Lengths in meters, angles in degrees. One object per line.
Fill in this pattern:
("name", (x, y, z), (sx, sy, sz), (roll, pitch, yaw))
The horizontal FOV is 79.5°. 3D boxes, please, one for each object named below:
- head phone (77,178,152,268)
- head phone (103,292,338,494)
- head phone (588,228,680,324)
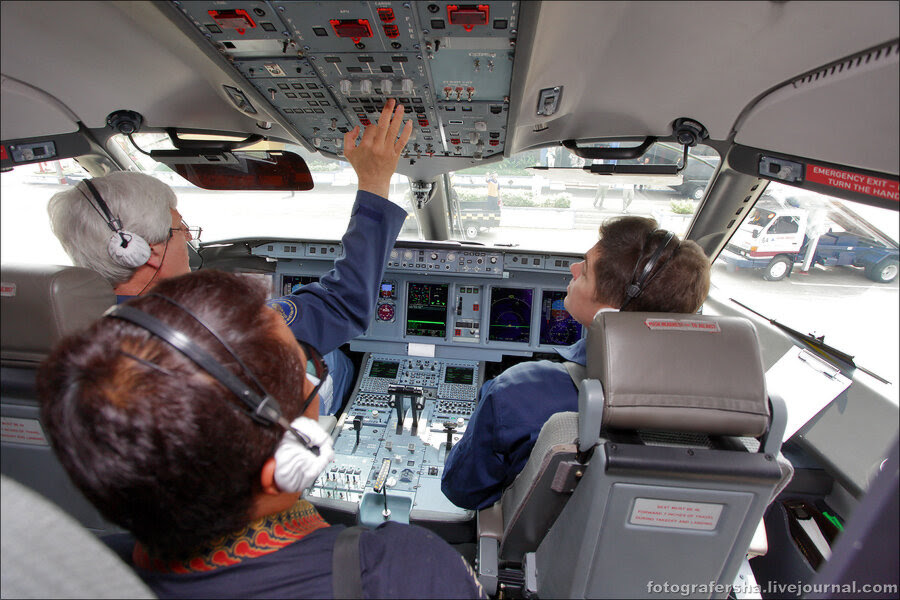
("head phone", (-1.284, -0.290, 2.058), (0.284, 0.125, 0.319), (49, -14, 0))
("head phone", (-0.513, 0.213, 1.342), (0.556, 0.193, 0.432), (33, -8, -14))
("head phone", (0.709, -0.101, 2.050), (0.094, 0.330, 0.291), (34, 13, 1))
